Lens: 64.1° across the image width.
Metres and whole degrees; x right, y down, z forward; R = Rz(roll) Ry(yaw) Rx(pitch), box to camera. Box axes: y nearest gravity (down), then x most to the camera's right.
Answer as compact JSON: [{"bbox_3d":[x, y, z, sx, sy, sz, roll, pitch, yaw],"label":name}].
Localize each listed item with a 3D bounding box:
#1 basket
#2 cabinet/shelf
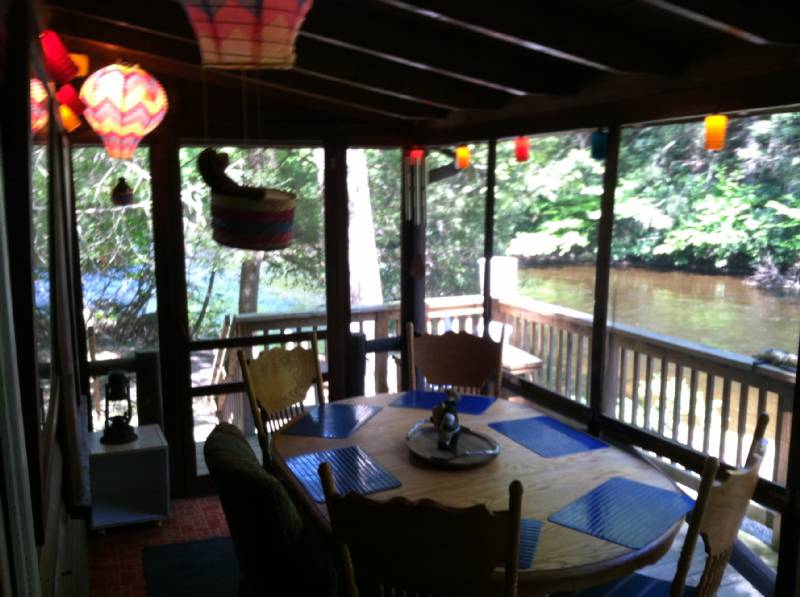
[{"bbox_3d":[-0.545,-0.288,2.477,0.267,0.171,0.275,8,14,38],"label":"basket"},{"bbox_3d":[-1.651,1.103,4.067,0.531,0.561,0.548,-2,15,-23],"label":"cabinet/shelf"}]
